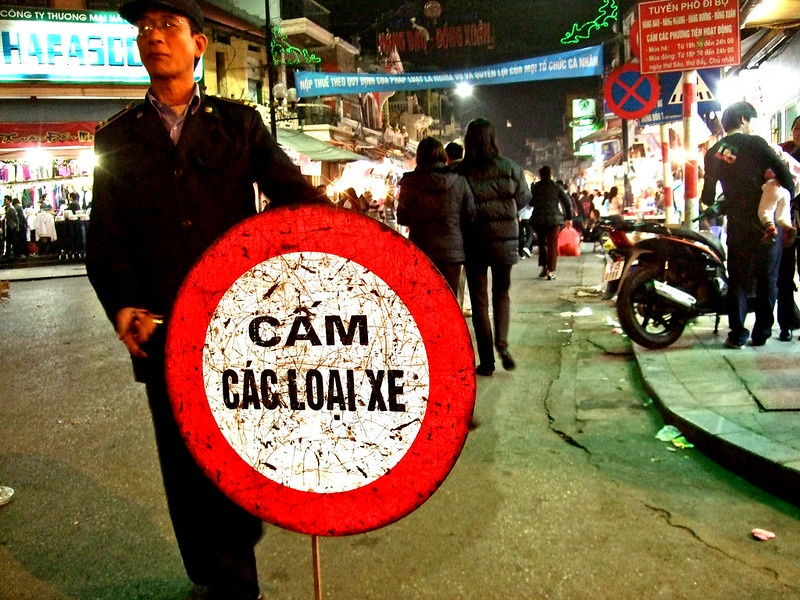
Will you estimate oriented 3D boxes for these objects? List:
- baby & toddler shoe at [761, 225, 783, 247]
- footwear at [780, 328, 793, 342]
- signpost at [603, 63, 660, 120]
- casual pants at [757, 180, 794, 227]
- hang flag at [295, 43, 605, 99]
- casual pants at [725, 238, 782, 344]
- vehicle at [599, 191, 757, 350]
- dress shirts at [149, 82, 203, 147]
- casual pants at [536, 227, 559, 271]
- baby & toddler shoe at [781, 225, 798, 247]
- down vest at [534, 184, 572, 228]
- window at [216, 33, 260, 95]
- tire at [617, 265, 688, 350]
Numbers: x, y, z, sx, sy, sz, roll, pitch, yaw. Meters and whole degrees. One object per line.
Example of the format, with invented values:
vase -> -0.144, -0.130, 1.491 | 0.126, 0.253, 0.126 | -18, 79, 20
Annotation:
baby & toddler shoe -> 3.431, -0.593, 6.268 | 0.132, 0.202, 0.069 | 4, 6, 7
footwear -> 3.792, 0.352, 6.635 | 0.070, 0.104, 0.226 | 5, 27, 24
signpost -> 3.384, -3.073, 9.932 | 0.819, 0.953, 0.075 | 6, 56, 30
casual pants -> 3.458, -0.867, 6.221 | 0.241, 0.482, 0.165 | 2, 13, 17
hang flag -> 0.973, -4.889, 14.608 | 6.530, 0.679, 0.939 | 1, 11, 17
casual pants -> 3.376, -0.093, 6.449 | 0.475, 1.052, 0.328 | 1, 10, 14
vehicle -> 3.256, -0.364, 7.056 | 2.249, 1.797, 0.959 | -2, 1, -16
dress shirts -> -1.006, -0.831, 3.058 | 0.185, 0.303, 0.131 | -13, 2, -9
casual pants -> 2.804, -0.986, 12.838 | 0.401, 0.926, 0.744 | 0, 10, 12
baby & toddler shoe -> 3.695, -0.607, 6.427 | 0.059, 0.208, 0.089 | -2, 28, 19
down vest -> 2.784, -1.780, 12.478 | 0.700, 0.828, 0.529 | 0, 10, 12
window -> -6.016, -8.582, 24.550 | 1.178, 2.575, 2.370 | 6, 12, 14
tire -> 2.506, 0.060, 6.777 | 0.728, 0.804, 0.387 | -3, 10, -5
